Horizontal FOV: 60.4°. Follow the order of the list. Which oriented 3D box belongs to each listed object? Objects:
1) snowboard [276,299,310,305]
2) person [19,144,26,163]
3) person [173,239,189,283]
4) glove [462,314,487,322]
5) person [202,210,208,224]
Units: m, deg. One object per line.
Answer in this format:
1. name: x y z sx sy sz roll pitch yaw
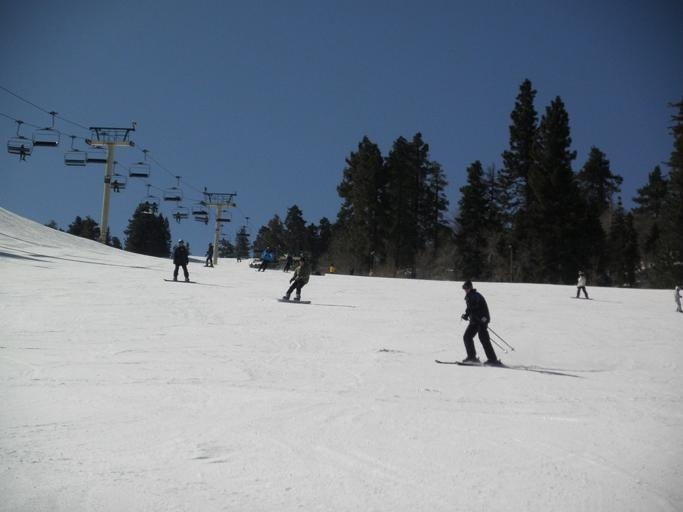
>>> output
1. snowboard: -1.592 1.506 19.446 1.119 0.161 0.566 3 5 -6
2. person: -17.912 -5.836 32.923 0.361 0.845 1.590 0 5 -30
3. person: -6.027 0.110 22.004 0.522 1.656 0.476 0 29 -17
4. glove: 2.867 1.323 12.611 0.512 0.148 0.174 4 24 7
5. person: -12.263 -3.489 52.596 0.366 1.076 2.226 1 5 -13
